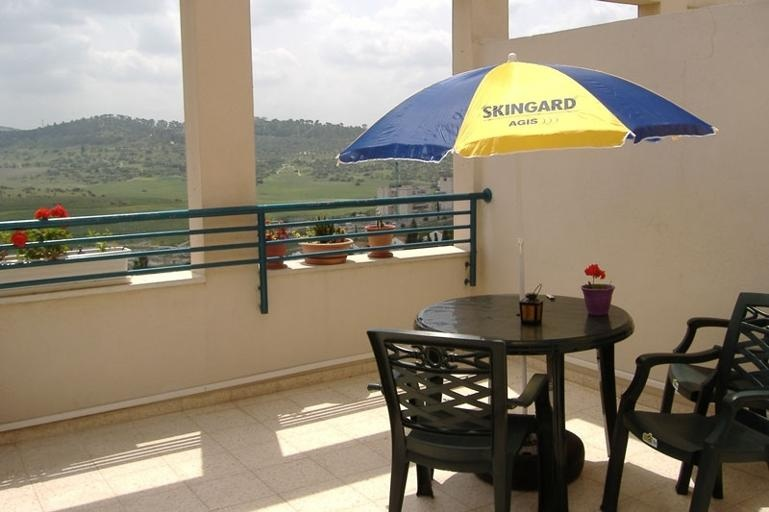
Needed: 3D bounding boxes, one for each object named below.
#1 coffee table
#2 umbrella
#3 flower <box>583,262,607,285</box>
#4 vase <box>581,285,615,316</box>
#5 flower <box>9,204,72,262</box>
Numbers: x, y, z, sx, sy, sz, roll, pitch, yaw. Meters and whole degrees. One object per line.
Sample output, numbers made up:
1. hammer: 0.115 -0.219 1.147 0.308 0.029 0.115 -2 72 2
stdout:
1. coffee table: 0.847 0.730 4.076 1.448 0.955 1.363 -3 7 -14
2. umbrella: 1.182 -0.346 3.992 1.886 1.160 1.844 -4 1 40
3. flower: 1.588 0.129 4.400 0.183 0.165 0.143 -7 16 -17
4. vase: 1.389 0.280 3.806 0.203 0.154 0.194 -2 7 8
5. flower: -2.571 -0.166 4.403 0.448 0.430 0.302 0 22 -36
